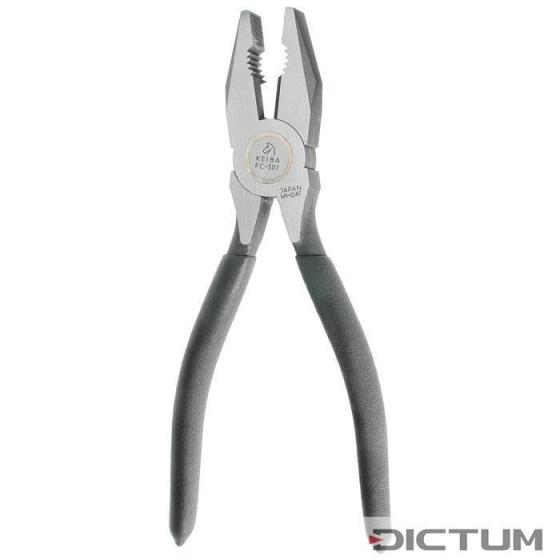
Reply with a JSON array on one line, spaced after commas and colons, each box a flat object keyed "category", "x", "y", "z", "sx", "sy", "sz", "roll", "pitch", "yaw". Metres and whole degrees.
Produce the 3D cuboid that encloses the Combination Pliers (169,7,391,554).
[{"category": "Combination Pliers", "x": -0.012, "y": -0.045, "z": 2.097, "sx": 0.793, "sy": 1.327, "sz": 0.735, "roll": 3, "pitch": 18, "yaw": -5}]
